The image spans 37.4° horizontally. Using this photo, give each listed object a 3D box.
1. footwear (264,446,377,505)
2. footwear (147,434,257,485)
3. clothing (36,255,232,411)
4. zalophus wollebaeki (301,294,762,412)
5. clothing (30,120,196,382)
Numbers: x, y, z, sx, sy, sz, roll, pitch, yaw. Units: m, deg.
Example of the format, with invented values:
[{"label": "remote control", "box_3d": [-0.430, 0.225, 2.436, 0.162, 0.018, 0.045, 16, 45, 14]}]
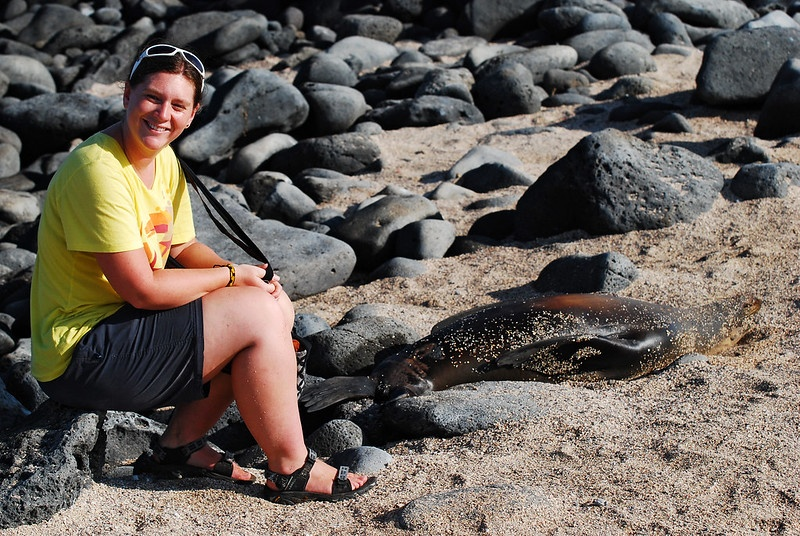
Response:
[{"label": "footwear", "box_3d": [-0.486, 1.301, 7.582, 0.768, 0.346, 0.261, -1, 25, -2]}, {"label": "footwear", "box_3d": [-1.302, 1.248, 7.699, 0.682, 0.272, 0.240, 4, 3, -6]}, {"label": "clothing", "box_3d": [-1.639, 0.520, 7.234, 0.864, 0.288, 0.665, -9, 54, -12]}, {"label": "zalophus wollebaeki", "box_3d": [1.126, 0.528, 8.634, 2.725, 0.673, 1.160, -1, 11, -4]}, {"label": "clothing", "box_3d": [-1.854, -0.120, 7.379, 1.323, 1.262, 0.543, -26, 39, -26]}]
